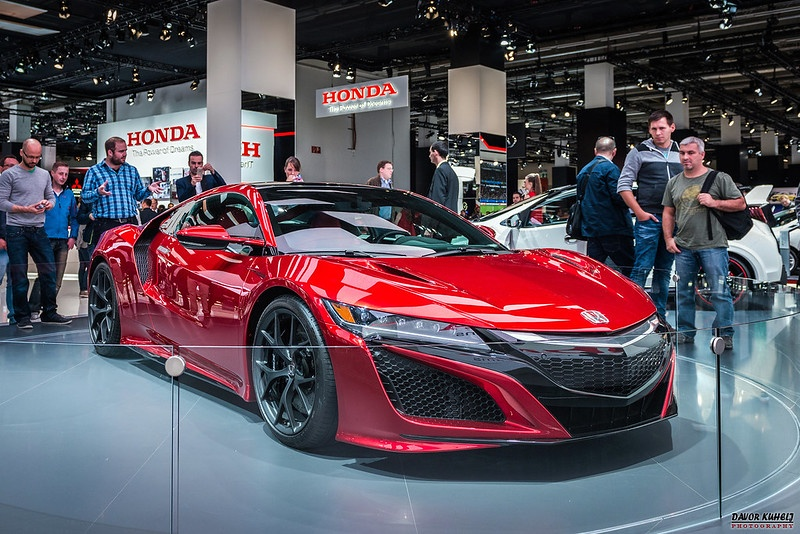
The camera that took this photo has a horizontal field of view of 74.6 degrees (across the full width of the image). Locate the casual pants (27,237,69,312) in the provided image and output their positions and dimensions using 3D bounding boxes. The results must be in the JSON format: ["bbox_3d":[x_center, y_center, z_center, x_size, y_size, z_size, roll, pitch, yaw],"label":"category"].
[{"bbox_3d":[-4.204,0.174,6.279,0.222,0.742,0.179,-8,2,41],"label":"casual pants"}]

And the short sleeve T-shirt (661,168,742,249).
[{"bbox_3d":[2.679,-0.532,4.712,0.332,0.678,0.733,-11,9,-27],"label":"short sleeve T-shirt"}]

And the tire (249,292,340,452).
[{"bbox_3d":[-0.461,0.488,2.369,0.150,0.489,0.435,-12,45,-34],"label":"tire"}]

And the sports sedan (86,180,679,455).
[{"bbox_3d":[-0.460,0.272,3.059,1.669,0.823,2.810,0,4,-41],"label":"sports sedan"}]

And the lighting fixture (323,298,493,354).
[{"bbox_3d":[0.013,0.276,2.343,0.759,0.191,0.128,1,10,12],"label":"lighting fixture"}]

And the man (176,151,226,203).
[{"bbox_3d":[-2.917,-1.153,7.705,0.637,0.452,1.404,2,-28,-18],"label":"man"}]

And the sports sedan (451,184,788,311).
[{"bbox_3d":[2.961,-0.503,6.746,3.584,1.185,1.812,6,2,15],"label":"sports sedan"}]

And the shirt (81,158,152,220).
[{"bbox_3d":[-3.689,-0.975,6.936,0.590,0.767,0.872,7,13,34],"label":"shirt"}]
